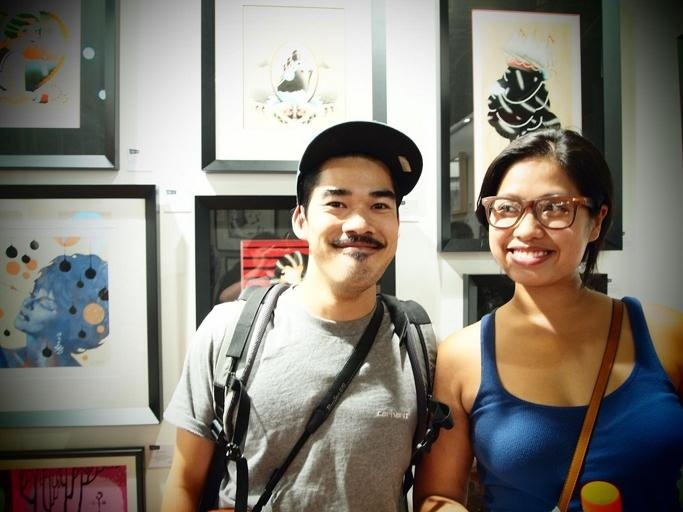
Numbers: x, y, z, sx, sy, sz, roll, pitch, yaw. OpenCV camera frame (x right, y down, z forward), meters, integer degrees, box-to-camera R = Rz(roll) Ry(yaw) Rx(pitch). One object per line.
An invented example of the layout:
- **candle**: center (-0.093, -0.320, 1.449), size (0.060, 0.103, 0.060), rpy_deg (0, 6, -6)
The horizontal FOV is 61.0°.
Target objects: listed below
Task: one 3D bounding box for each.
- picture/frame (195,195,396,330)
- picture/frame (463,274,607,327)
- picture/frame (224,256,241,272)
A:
- **picture/frame**: center (-0.194, 0.022, 2.204), size (0.504, 0.526, 0.041), rpy_deg (0, -2, -4)
- **picture/frame**: center (0.673, 0.188, 2.468), size (0.323, 0.249, 0.027), rpy_deg (0, -18, -4)
- **picture/frame**: center (-0.459, 0.032, 2.409), size (0.057, 0.060, 0.014), rpy_deg (4, -4, 0)
